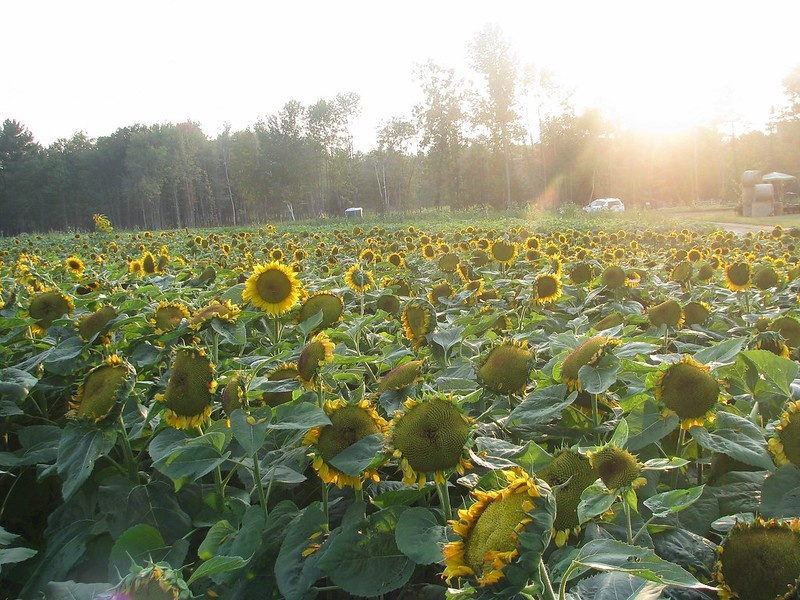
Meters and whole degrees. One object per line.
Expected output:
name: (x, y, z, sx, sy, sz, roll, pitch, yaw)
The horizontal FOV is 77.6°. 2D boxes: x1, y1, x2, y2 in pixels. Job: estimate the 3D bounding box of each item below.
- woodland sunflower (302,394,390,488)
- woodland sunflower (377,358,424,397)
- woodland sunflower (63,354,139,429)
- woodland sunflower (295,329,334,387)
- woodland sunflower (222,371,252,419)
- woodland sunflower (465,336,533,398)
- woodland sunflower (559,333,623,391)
woodland sunflower: (-0.173, 0.455, 1.555, 0.244, 0.268, 0.117, -4, 9, -12)
woodland sunflower: (0.003, 0.287, 1.880, 0.229, 0.077, 0.079, -37, -2, -13)
woodland sunflower: (-1.056, 0.332, 1.884, 0.236, 0.109, 0.261, -10, 43, 33)
woodland sunflower: (-0.319, 0.201, 1.775, 0.054, 0.151, 0.154, 22, 32, -31)
woodland sunflower: (-0.531, 0.311, 1.620, 0.079, 0.141, 0.117, -7, 10, -26)
woodland sunflower: (0.405, 0.276, 1.895, 0.207, 0.237, 0.139, -5, 10, -18)
woodland sunflower: (0.693, 0.231, 1.818, 0.180, 0.199, 0.133, -4, 9, -13)
